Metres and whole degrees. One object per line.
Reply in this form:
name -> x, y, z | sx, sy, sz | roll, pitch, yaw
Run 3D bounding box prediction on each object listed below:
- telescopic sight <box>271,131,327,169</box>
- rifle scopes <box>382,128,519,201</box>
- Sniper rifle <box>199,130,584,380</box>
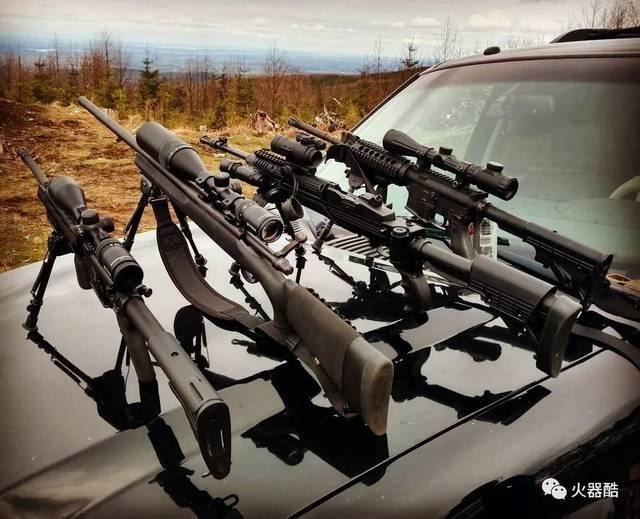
telescopic sight -> -0.098, -0.532, 2.231 | 0.132, 0.115, 0.254 | -21, 36, -36
rifle scopes -> 0.602, -0.443, 2.210 | 0.721, 0.139, 0.155 | 30, 46, 27
Sniper rifle -> 0.287, -0.011, 1.783 | 0.287, 0.420, 1.405 | -38, 45, -23
